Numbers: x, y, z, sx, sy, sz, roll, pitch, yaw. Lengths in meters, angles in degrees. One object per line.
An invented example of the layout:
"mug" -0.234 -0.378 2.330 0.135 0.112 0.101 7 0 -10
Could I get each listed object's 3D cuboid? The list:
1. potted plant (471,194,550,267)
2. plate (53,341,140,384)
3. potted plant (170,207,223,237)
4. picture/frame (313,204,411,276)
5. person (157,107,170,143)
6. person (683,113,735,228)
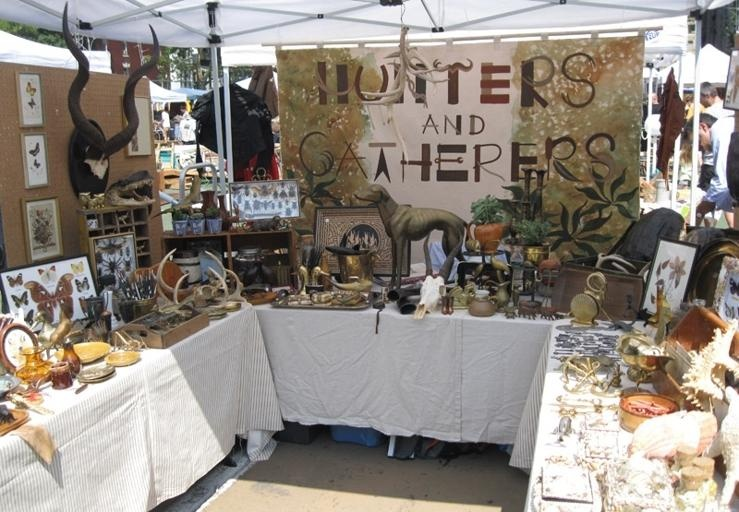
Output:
"potted plant" 1.218 -0.244 4.908 0.543 0.458 0.606 6 9 33
"plate" -1.685 0.662 3.684 0.281 0.071 0.294 12 18 16
"potted plant" -1.477 -0.307 4.999 0.401 0.229 0.215 -5 9 -17
"picture/frame" -0.058 -0.127 4.962 0.551 0.492 0.042 -2 -11 6
"person" -5.998 -3.874 17.222 0.309 1.071 1.451 -5 9 -18
"person" 4.391 -1.122 7.439 0.373 1.392 1.409 2 9 26
